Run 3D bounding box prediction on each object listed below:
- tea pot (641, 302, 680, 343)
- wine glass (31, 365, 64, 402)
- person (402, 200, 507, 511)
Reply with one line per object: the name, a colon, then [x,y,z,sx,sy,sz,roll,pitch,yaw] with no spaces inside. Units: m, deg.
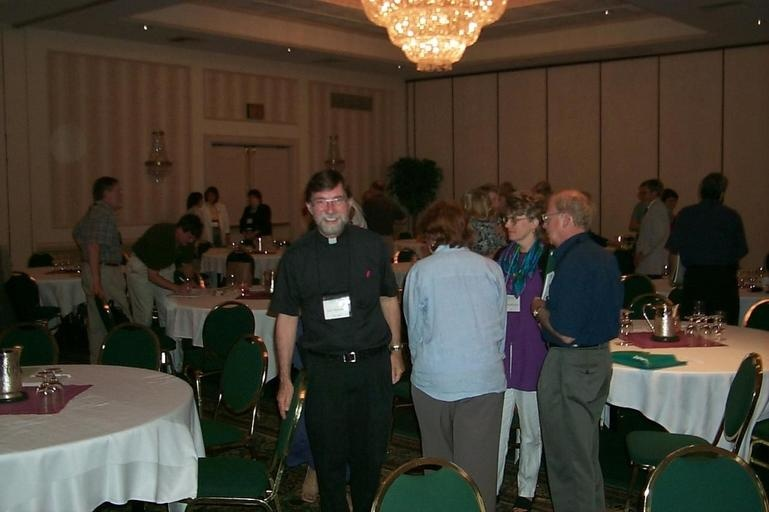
tea pot: [2.209,0.529,5.341,0.184,0.306,0.283,2,-2,-40]
wine glass: [-2.216,0.831,4.440,0.192,0.227,0.199,2,4,11]
person: [0.455,0.655,4.364,0.671,2.001,0.315,2,5,13]
